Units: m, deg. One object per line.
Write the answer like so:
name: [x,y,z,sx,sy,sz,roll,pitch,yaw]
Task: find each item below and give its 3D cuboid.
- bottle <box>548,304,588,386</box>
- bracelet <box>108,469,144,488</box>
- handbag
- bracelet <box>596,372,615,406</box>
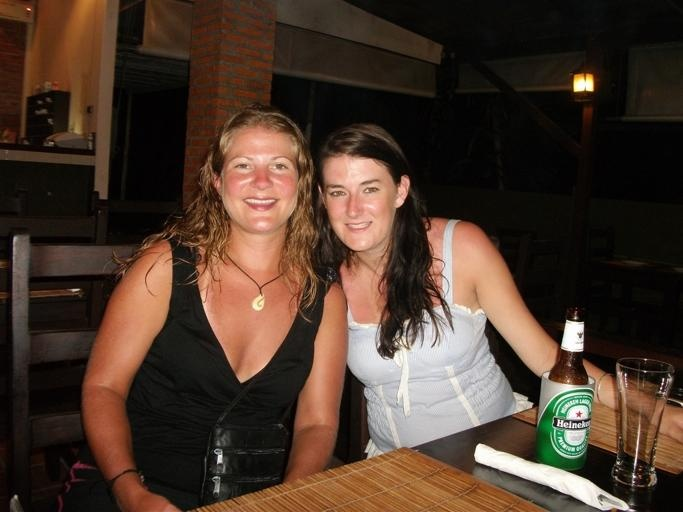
bottle: [0.525,0.191,1.222,0.080,0.199,0.237,3,9,24]
bracelet: [-0.560,0.565,1.361,0.054,0.021,0.055,-13,23,-42]
handbag: [-0.262,0.570,1.497,0.222,0.321,0.175,8,-23,-16]
bracelet: [0.726,0.367,1.461,0.055,0.079,0.018,-4,-6,6]
